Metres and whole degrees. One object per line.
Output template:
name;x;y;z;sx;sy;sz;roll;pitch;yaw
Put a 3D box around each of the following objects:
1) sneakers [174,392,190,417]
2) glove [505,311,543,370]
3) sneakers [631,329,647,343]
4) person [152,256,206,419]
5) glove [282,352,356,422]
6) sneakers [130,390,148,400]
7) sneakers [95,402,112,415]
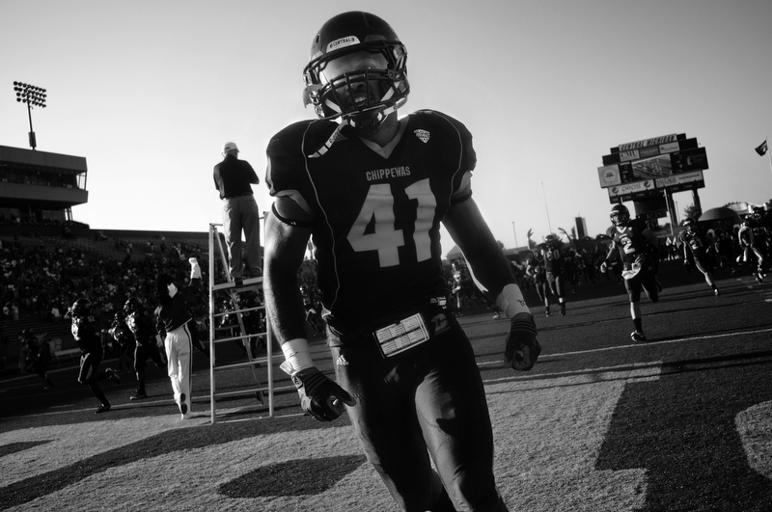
sneakers;-3.325;2.441;9.199;0.213;0.396;0.241;0;-2;-22
glove;0.824;0.550;3.404;0.232;0.342;0.155;10;37;6
sneakers;4.300;1.378;9.593;0.149;0.195;0.394;-2;11;-2
person;-3.828;1.669;10.416;0.868;2.516;0.882;-19;-11;29
glove;-0.420;0.819;3.311;0.301;0.380;0.186;-30;-20;-41
sneakers;-5.452;3.052;12.350;0.217;0.240;0.521;8;-17;-27
sneakers;-5.679;3.014;11.100;0.455;0.222;0.173;-6;4;32
